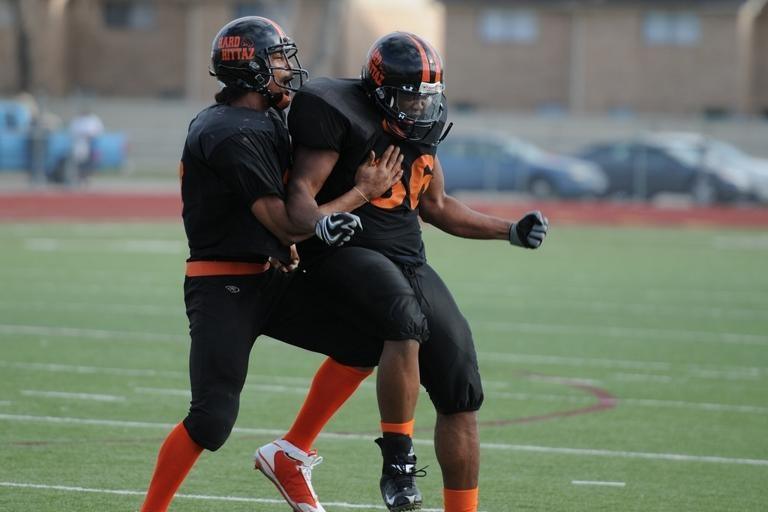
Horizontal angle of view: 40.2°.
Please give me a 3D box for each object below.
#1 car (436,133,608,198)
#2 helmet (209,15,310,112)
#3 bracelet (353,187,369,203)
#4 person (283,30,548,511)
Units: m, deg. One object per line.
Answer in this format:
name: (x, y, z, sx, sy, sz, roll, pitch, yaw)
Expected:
car: (3.465, -2.298, 27.089, 4.527, 1.222, 1.851, 1, 6, 11)
helmet: (-0.821, -1.282, 6.885, 0.707, 0.511, 0.478, 4, 14, 12)
bracelet: (-0.136, -0.385, 6.653, 0.096, 0.025, 0.075, 35, 5, -1)
person: (0.096, 0.104, 6.688, 1.466, 3.046, 0.945, 4, 7, 6)
